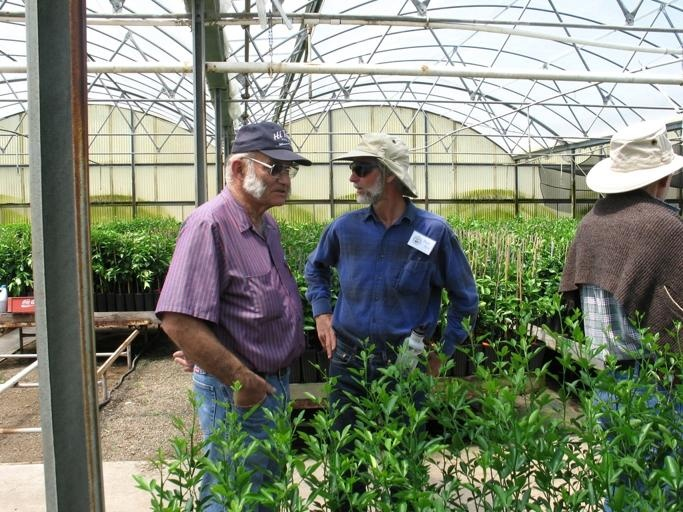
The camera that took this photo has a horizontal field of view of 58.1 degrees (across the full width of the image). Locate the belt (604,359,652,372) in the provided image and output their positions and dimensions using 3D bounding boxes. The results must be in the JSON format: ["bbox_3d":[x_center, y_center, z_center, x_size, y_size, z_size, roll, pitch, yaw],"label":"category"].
[{"bbox_3d":[1.376,0.517,2.948,0.155,0.062,0.173,-4,-1,24],"label":"belt"}]

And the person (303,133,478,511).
[{"bbox_3d":[0.283,0.072,3.757,1.076,1.629,0.554,0,4,6],"label":"person"}]

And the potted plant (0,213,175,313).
[{"bbox_3d":[-2.650,0.112,6.512,1.304,0.730,1.464,0,-3,-7],"label":"potted plant"}]

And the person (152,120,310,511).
[{"bbox_3d":[-0.548,0.037,3.250,0.478,1.528,0.821,2,5,29],"label":"person"}]

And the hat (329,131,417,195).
[{"bbox_3d":[0.234,-0.623,3.851,0.504,0.348,0.441,14,4,-14],"label":"hat"}]

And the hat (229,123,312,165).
[{"bbox_3d":[-0.408,-0.643,3.488,0.419,0.259,0.301,2,0,17],"label":"hat"}]
